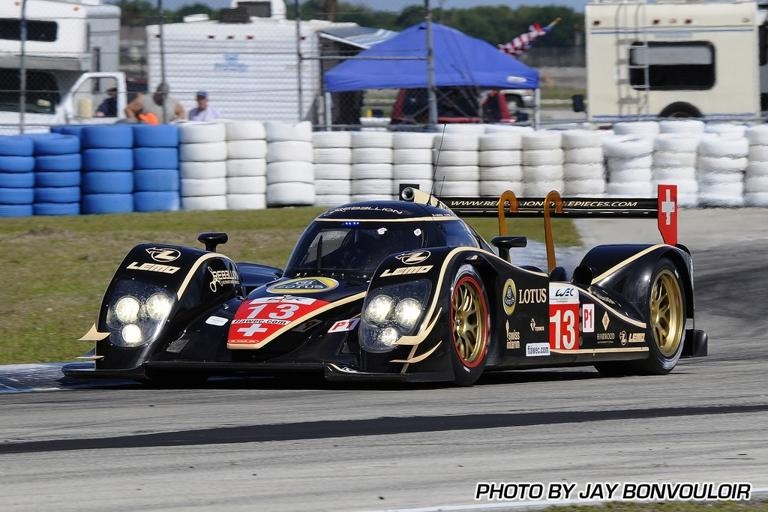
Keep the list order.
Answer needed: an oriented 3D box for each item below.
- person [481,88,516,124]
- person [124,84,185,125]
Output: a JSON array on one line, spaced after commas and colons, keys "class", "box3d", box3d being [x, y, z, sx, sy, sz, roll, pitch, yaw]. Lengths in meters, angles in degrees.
[{"class": "person", "box3d": [2.461, -3.300, 30.757, 0.575, 0.737, 1.893, 2, 14, 8]}, {"class": "person", "box3d": [-4.047, -2.678, 25.788, 0.850, 0.914, 0.502, 5, 42, -3]}]
